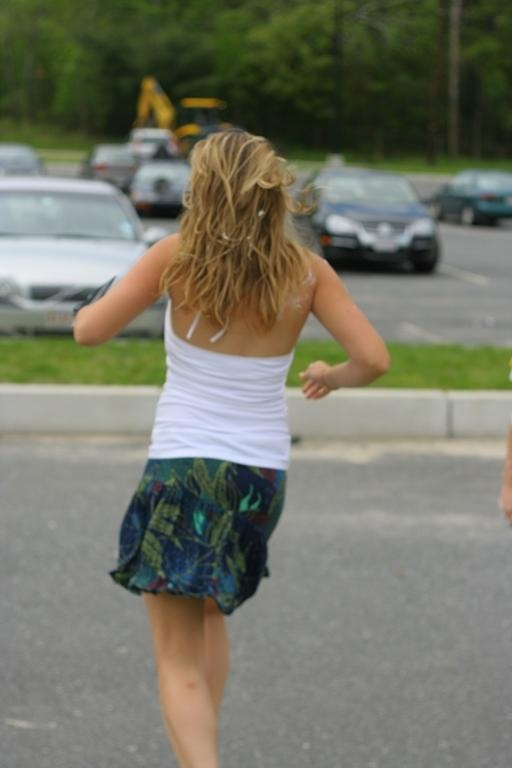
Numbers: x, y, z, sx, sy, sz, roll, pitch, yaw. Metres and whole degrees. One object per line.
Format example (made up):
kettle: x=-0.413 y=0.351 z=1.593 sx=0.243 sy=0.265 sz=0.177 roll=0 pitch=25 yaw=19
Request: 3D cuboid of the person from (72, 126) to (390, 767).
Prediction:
person: x=-0.032 y=0.144 z=1.938 sx=0.547 sy=1.300 sz=0.428 roll=-7 pitch=15 yaw=-34
